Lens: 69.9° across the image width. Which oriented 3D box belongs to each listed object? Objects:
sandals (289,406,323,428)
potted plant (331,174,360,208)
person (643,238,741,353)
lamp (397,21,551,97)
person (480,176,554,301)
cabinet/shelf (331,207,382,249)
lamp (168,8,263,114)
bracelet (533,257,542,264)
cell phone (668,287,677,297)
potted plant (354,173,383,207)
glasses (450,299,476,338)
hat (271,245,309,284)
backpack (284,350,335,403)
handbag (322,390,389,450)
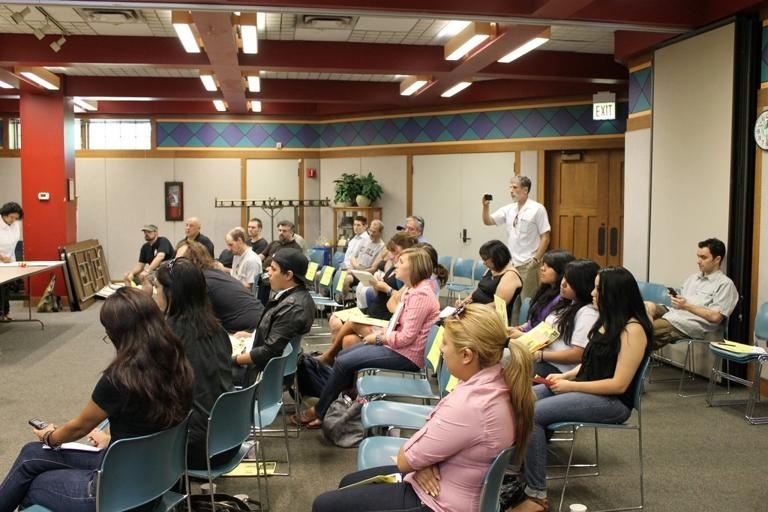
[{"bbox_3d":[-0.750,1.573,5.357,0.279,0.103,0.194,4,0,-8],"label":"sandals"},{"bbox_3d":[-0.784,-1.533,12.500,0.682,0.714,0.682,-12,17,-14],"label":"potted plant"},{"bbox_3d":[3.235,0.422,6.174,1.382,1.063,0.823,-5,13,-12],"label":"person"},{"bbox_3d":[1.353,-2.985,8.442,0.689,0.165,3.673,-2,7,-14],"label":"lamp"},{"bbox_3d":[1.933,0.021,7.924,0.925,2.264,0.504,7,18,41],"label":"person"},{"bbox_3d":[-0.528,-0.591,11.075,0.994,1.035,0.357,0,0,27],"label":"cabinet/shelf"},{"bbox_3d":[-2.529,-3.106,8.796,1.053,0.383,5.349,-2,7,-12],"label":"lamp"},{"bbox_3d":[2.070,0.060,7.488,0.082,0.057,0.078,-13,-9,28],"label":"bracelet"},{"bbox_3d":[3.084,0.392,5.918,0.036,0.145,0.072,8,52,49],"label":"cell phone"},{"bbox_3d":[-0.321,-1.497,12.290,0.571,0.721,0.370,-6,9,-39],"label":"potted plant"},{"bbox_3d":[0.429,0.340,3.016,0.175,0.156,0.129,-27,0,18],"label":"glasses"},{"bbox_3d":[-0.815,0.074,5.011,0.349,0.184,0.248,32,9,-20],"label":"hat"},{"bbox_3d":[-0.719,1.205,5.461,0.491,0.756,0.245,-1,-7,5],"label":"backpack"},{"bbox_3d":[-0.307,1.521,5.113,0.579,0.273,0.585,-16,23,-9],"label":"handbag"}]
